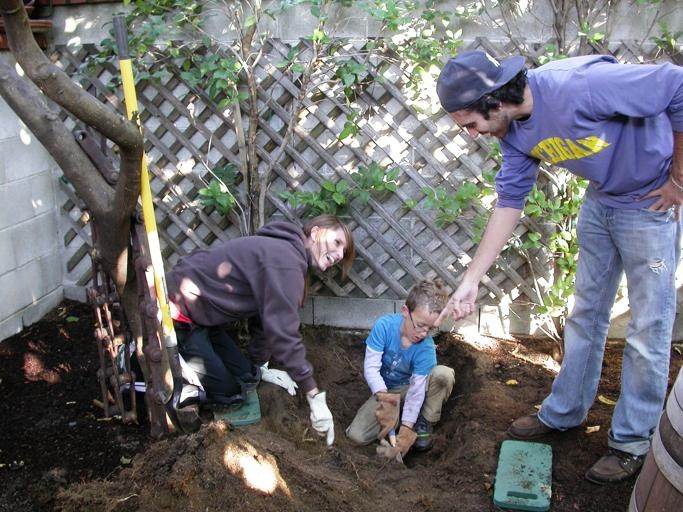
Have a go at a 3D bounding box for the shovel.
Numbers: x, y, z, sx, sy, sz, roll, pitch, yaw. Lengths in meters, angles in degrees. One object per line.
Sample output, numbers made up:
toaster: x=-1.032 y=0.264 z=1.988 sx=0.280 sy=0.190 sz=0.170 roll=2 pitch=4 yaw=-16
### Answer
shovel: x=-0.846 y=-0.120 z=2.935 sx=0.327 sy=1.936 sz=0.544 roll=-6 pitch=16 yaw=-32

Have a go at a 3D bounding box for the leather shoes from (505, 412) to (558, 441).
leather shoes: x=0.947 y=0.836 z=3.072 sx=0.222 sy=0.102 sz=0.106 roll=3 pitch=11 yaw=1

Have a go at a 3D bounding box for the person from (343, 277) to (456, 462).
person: x=0.351 y=0.561 z=3.501 sx=0.643 sy=1.041 sz=0.870 roll=3 pitch=18 yaw=5

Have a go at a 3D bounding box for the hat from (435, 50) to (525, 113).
hat: x=0.518 y=-0.733 z=2.579 sx=0.244 sy=0.135 sz=0.338 roll=19 pitch=-11 yaw=-19

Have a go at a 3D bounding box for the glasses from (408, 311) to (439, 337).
glasses: x=0.410 y=0.339 z=3.338 sx=0.177 sy=0.054 sz=0.172 roll=29 pitch=13 yaw=-44

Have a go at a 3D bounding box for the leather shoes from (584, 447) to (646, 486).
leather shoes: x=1.241 y=0.959 z=2.879 sx=0.308 sy=0.117 sz=0.128 roll=-20 pitch=-27 yaw=9

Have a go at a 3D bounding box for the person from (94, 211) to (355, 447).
person: x=-0.484 y=0.371 z=3.462 sx=1.096 sy=1.233 sz=0.723 roll=9 pitch=10 yaw=5

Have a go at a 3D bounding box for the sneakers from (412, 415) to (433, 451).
sneakers: x=0.451 y=0.954 z=3.402 sx=0.089 sy=0.122 sz=0.260 roll=7 pitch=19 yaw=7
